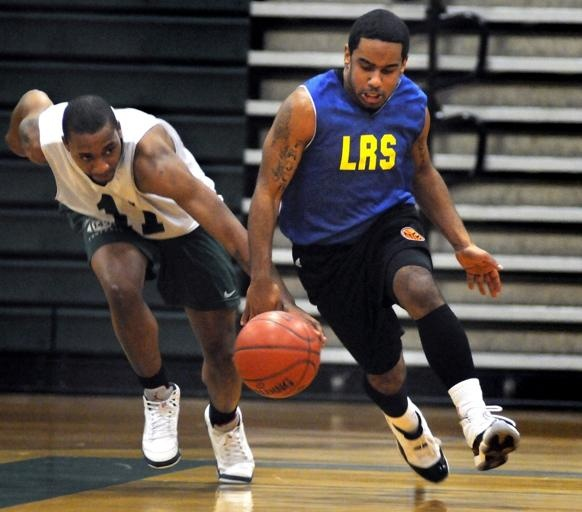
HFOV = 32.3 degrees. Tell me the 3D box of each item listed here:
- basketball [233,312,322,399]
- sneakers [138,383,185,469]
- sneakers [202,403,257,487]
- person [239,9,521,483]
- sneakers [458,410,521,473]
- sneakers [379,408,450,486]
[{"bbox_3d":[-0.063,0.351,3.560,0.319,0.326,0.329,-5,0,5],"label":"basketball"},{"bbox_3d":[-0.504,0.664,3.894,0.116,0.144,0.360,-2,23,-4],"label":"sneakers"},{"bbox_3d":[-0.232,0.757,3.941,0.110,0.134,0.338,-13,52,1],"label":"sneakers"},{"bbox_3d":[0.321,0.074,3.640,0.898,1.612,0.783,2,18,14],"label":"person"},{"bbox_3d":[0.670,0.618,3.368,0.164,0.197,0.124,-5,17,-6],"label":"sneakers"},{"bbox_3d":[0.501,0.732,3.856,0.142,0.143,0.344,-33,27,-4],"label":"sneakers"}]
